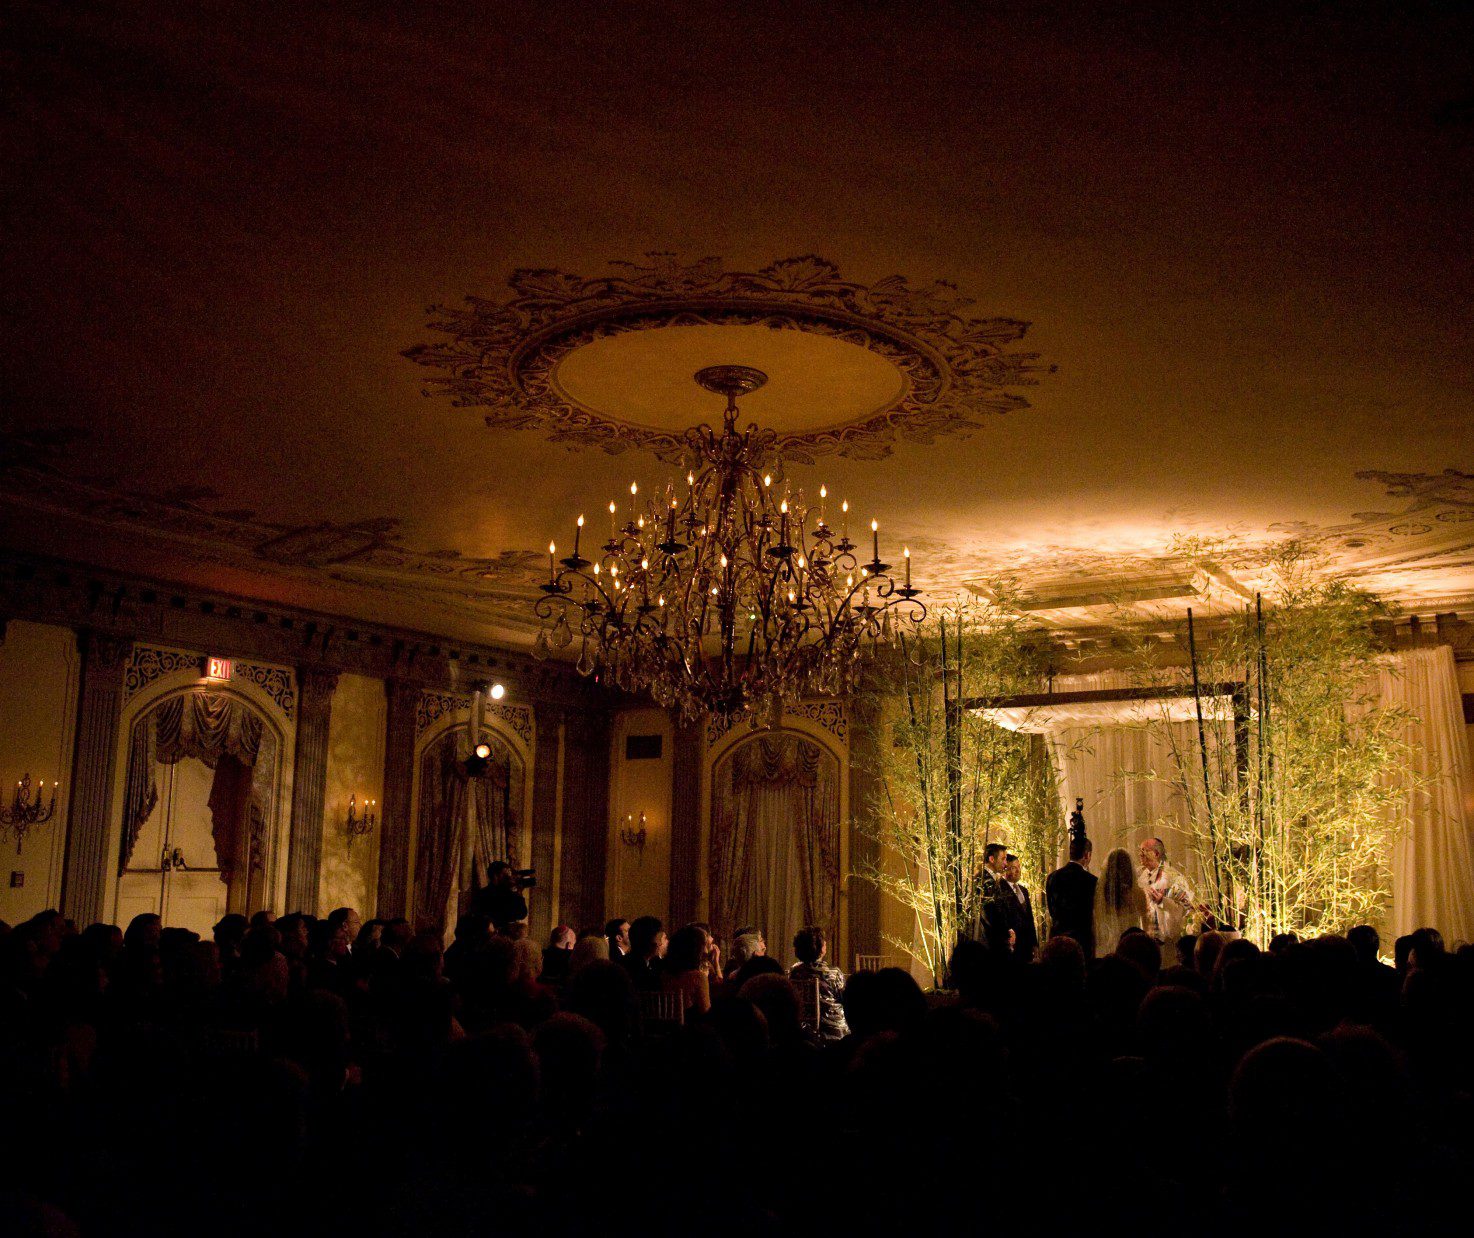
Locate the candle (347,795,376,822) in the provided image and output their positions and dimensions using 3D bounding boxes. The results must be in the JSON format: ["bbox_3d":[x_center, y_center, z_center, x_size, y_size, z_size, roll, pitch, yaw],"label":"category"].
[{"bbox_3d":[-3.739,1.875,12.650,0.065,0.266,0.330,-4,-12,26],"label":"candle"}]

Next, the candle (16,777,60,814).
[{"bbox_3d":[-5.530,1.389,10.019,0.083,0.348,0.360,-4,-12,25],"label":"candle"}]

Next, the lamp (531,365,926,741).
[{"bbox_3d":[-0.038,-0.671,8.141,1.879,1.822,2.009,3,-1,1],"label":"lamp"}]
